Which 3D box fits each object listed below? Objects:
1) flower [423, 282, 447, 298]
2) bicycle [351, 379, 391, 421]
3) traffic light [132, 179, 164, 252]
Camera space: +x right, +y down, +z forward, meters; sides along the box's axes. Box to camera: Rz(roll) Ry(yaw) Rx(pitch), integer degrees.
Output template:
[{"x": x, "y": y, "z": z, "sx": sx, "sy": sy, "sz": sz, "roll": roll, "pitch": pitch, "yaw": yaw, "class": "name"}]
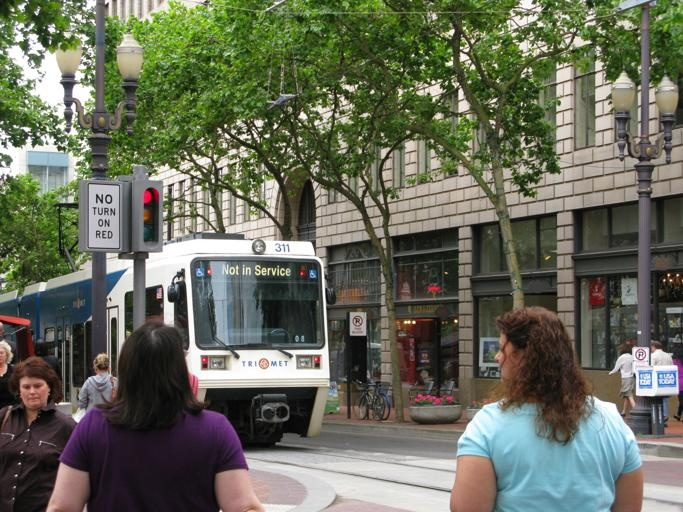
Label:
[{"x": 2.912, "y": 1.012, "z": 28.633, "sx": 0.396, "sy": 0.472, "sz": 0.443, "roll": 1, "pitch": -11, "yaw": 3, "class": "flower"}, {"x": 1.008, "y": 3.745, "z": 24.607, "sx": 0.636, "sy": 0.821, "sz": 1.328, "roll": -3, "pitch": -2, "yaw": -25, "class": "bicycle"}, {"x": -1.972, "y": -0.415, "z": 9.568, "sx": 0.358, "sy": 0.787, "sz": 0.283, "roll": 2, "pitch": -7, "yaw": -37, "class": "traffic light"}]
